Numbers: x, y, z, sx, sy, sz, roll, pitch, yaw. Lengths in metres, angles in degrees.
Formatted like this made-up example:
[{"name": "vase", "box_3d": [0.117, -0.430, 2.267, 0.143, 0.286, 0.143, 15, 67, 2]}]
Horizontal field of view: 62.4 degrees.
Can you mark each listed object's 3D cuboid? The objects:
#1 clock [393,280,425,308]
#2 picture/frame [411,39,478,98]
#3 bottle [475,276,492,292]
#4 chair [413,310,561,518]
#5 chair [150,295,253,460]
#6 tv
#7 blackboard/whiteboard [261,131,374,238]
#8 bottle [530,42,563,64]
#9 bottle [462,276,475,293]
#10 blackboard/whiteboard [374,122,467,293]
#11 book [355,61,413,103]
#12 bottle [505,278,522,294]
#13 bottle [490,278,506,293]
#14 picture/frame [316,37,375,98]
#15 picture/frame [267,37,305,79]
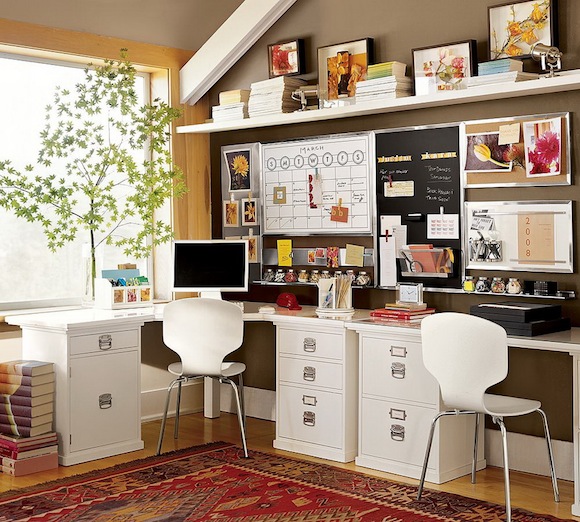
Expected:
[{"name": "clock", "box_3d": [0.675, 0.185, 2.701, 0.137, 0.135, 0.049, -1, -3, 44]}, {"name": "picture/frame", "box_3d": [0.875, -1.078, 2.676, 0.043, 0.331, 0.431, -2, 2, -42]}, {"name": "bottle", "box_3d": [1.064, 0.126, 2.631, 0.031, 0.091, 0.080, -1, 3, -42]}, {"name": "chair", "box_3d": [0.803, 0.646, 2.091, 0.541, 0.913, 0.539, 1, 4, 44]}, {"name": "chair", "box_3d": [-0.490, 0.664, 2.812, 0.503, 0.895, 0.511, 0, -3, -2]}, {"name": "tv", "box_3d": [-0.559, 0.038, 3.356, 0.520, 0.372, 0.114, -2, 3, 2]}, {"name": "blackboard/whiteboard", "box_3d": [0.218, -0.544, 3.331, 0.759, 0.575, 0.037, -1, -1, 38]}, {"name": "bottle", "box_3d": [1.235, -1.015, 2.311, 0.119, 0.098, 0.080, -2, 3, 5]}, {"name": "bottle", "box_3d": [0.998, 0.128, 2.675, 0.072, 0.135, 0.071, 0, 4, 0]}, {"name": "blackboard/whiteboard", "box_3d": [0.761, -0.334, 2.905, 0.136, 0.971, 0.563, -4, 4, -39]}, {"name": "book", "box_3d": [0.570, -1.053, 2.915, 0.242, 0.252, 0.345, -1, 1, -44]}, {"name": "bottle", "box_3d": [1.173, 0.126, 2.517, 0.070, 0.075, 0.072, -1, 3, -4]}, {"name": "bottle", "box_3d": [1.101, 0.125, 2.553, 0.070, 0.071, 0.017, 3, -2, 42]}, {"name": "picture/frame", "box_3d": [0.376, -1.264, 3.129, 0.056, 0.481, 0.520, 2, -2, -43]}, {"name": "picture/frame", "box_3d": [-0.022, -1.458, 3.432, 0.349, 0.309, 0.058, 5, 7, 40]}]
